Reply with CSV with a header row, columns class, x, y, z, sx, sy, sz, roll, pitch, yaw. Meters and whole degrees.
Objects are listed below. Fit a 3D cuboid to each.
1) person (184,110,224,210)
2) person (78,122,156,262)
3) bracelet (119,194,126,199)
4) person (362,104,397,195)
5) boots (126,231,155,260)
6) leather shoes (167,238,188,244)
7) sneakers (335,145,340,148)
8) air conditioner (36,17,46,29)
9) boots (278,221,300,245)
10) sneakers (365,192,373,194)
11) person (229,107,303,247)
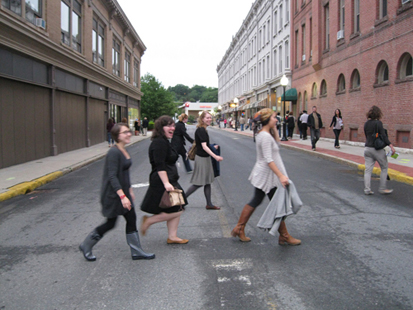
class,x,y,z,sx,sy,sz,roll,pitch,yaw
person,-0.051,0.138,6.986,0.717,2.185,0.592,-1,8,2
person,-1.298,0.536,4.600,0.993,1.951,0.519,-3,8,-12
bracelet,-1.153,0.572,4.383,0.053,0.040,0.065,0,1,2
person,4.471,-0.129,8.308,0.648,2.261,0.616,3,9,26
boots,-0.970,1.323,4.776,0.509,0.545,0.251,-2,0,-11
leather shoes,-0.467,1.395,5.188,0.320,0.119,0.123,-1,-1,-5
sneakers,7.566,-0.479,18.331,0.145,0.115,0.358,1,5,-7
air conditioner,-8.199,-6.519,15.739,0.231,0.464,0.610,-1,9,2
boots,1.329,1.248,5.101,0.350,0.381,0.172,-1,-14,13
sneakers,4.260,0.966,8.342,0.221,0.088,0.100,-2,-1,-4
person,0.907,0.341,5.117,0.872,2.142,0.485,1,8,14
